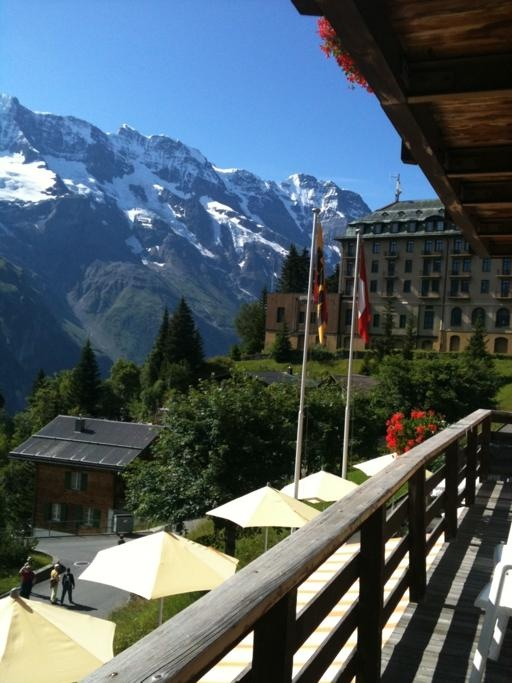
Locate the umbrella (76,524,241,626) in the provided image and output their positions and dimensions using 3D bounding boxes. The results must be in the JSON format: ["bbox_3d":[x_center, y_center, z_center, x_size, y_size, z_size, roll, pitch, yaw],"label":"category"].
[{"bbox_3d":[-1.525,3.544,9.064,2.317,0.672,1.544,1,-1,17],"label":"umbrella"}]

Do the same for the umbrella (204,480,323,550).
[{"bbox_3d":[0.202,3.458,11.789,1.953,0.746,1.455,1,-1,5],"label":"umbrella"}]
